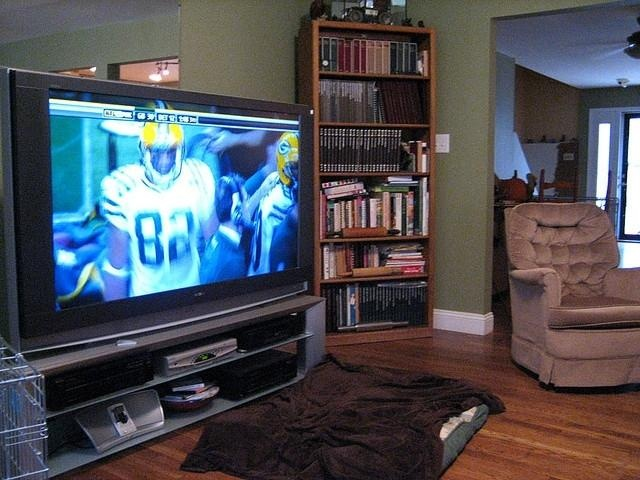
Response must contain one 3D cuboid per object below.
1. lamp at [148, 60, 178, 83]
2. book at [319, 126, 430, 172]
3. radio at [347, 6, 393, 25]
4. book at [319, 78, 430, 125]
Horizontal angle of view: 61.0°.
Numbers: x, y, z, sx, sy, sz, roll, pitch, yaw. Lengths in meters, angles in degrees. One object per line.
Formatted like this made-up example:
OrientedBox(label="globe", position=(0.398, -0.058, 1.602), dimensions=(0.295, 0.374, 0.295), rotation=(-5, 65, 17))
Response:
OrientedBox(label="lamp", position=(-0.972, -1.056, 3.398), dimensions=(0.156, 0.077, 0.171), rotation=(-3, 3, 26))
OrientedBox(label="book", position=(0.412, -0.704, 4.262), dimensions=(0.893, 0.348, 0.170), rotation=(-1, 10, -15))
OrientedBox(label="radio", position=(0.367, -1.742, 4.172), dimensions=(0.371, 0.131, 0.046), rotation=(-1, 10, -14))
OrientedBox(label="book", position=(0.410, -1.094, 4.241), dimensions=(0.869, 0.358, 0.139), rotation=(-1, 10, -14))
